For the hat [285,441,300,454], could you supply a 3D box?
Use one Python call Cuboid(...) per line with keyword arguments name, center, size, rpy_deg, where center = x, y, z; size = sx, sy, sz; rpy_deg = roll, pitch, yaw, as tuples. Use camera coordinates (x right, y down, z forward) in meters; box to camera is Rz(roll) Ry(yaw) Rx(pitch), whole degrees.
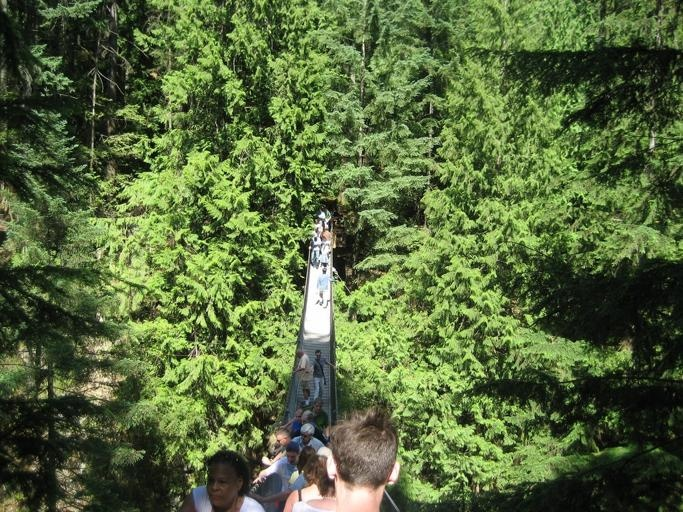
Cuboid(name="hat", center=(-0.562, 2.212, 8.499), size=(0.100, 0.146, 0.136), rpy_deg=(3, 2, -3))
